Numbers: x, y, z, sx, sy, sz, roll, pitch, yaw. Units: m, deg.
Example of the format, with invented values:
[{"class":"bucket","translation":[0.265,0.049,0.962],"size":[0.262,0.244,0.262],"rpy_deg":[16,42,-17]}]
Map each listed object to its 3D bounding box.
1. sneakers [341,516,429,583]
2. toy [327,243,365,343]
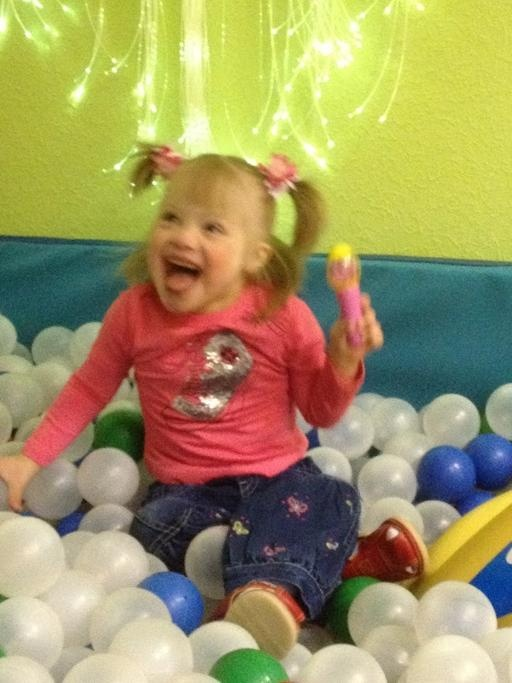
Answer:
[{"class":"sneakers","translation":[0.196,0.317,0.924],"size":[0.068,0.154,0.061],"rpy_deg":[-37,77,-22]},{"class":"toy","translation":[0.128,-0.070,0.854],"size":[0.048,0.138,0.043],"rpy_deg":[-11,12,5]}]
